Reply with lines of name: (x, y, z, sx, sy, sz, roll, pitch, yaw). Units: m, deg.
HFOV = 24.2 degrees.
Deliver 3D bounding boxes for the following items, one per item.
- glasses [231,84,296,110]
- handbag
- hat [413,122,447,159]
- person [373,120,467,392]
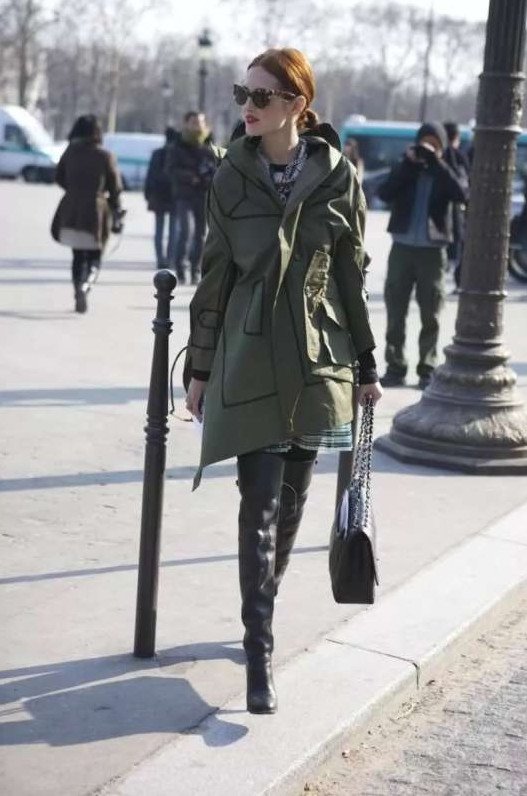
glasses: (-0.021, -0.848, 3.457, 0.197, 0.064, 0.141, 9, 13, 20)
handbag: (0.257, 0.428, 3.665, 0.161, 0.273, 0.427, 0, 12, -1)
hat: (1.095, -1.746, 8.182, 0.192, 0.230, 0.239, 2, -10, 1)
person: (0.992, -0.951, 8.141, 0.592, 1.741, 0.508, 15, 16, 40)
